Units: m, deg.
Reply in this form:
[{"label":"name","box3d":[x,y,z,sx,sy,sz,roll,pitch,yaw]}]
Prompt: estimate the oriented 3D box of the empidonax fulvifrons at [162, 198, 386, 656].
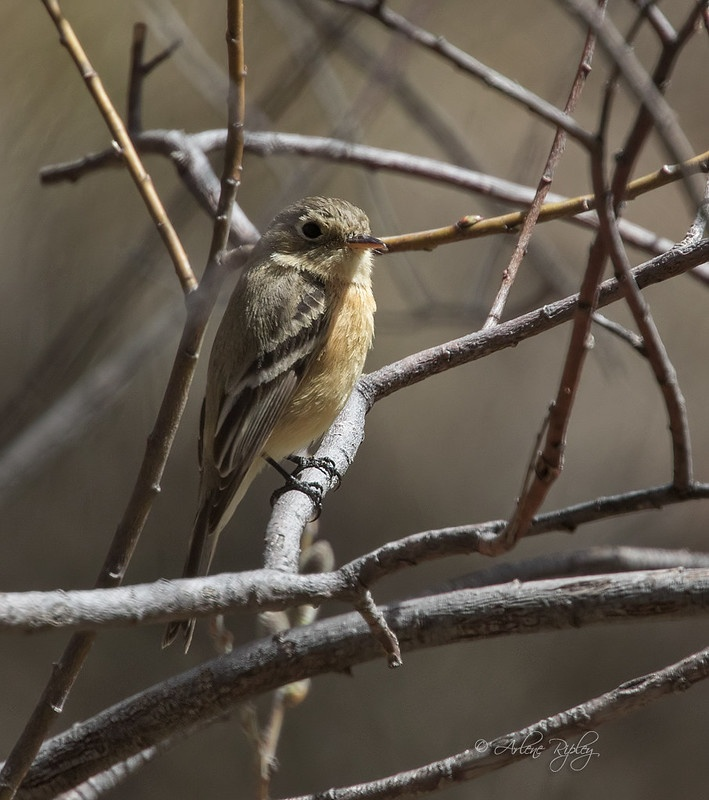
[{"label":"empidonax fulvifrons","box3d":[-0.231,-0.051,3.410,0.616,1.391,0.457,7,-16,-12]}]
